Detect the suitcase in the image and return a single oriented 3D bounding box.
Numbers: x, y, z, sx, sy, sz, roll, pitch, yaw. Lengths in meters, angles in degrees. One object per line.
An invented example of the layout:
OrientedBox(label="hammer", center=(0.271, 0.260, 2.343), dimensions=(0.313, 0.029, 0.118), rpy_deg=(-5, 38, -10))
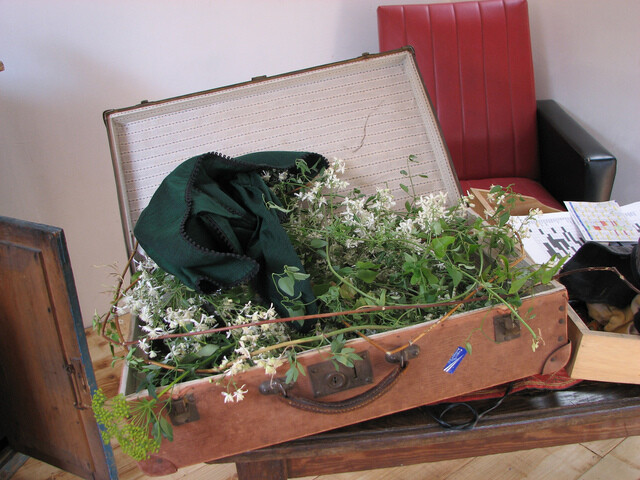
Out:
OrientedBox(label="suitcase", center=(-0.013, 0.102, 1.977), dimensions=(1.570, 1.174, 0.553), rpy_deg=(-15, -20, -7))
